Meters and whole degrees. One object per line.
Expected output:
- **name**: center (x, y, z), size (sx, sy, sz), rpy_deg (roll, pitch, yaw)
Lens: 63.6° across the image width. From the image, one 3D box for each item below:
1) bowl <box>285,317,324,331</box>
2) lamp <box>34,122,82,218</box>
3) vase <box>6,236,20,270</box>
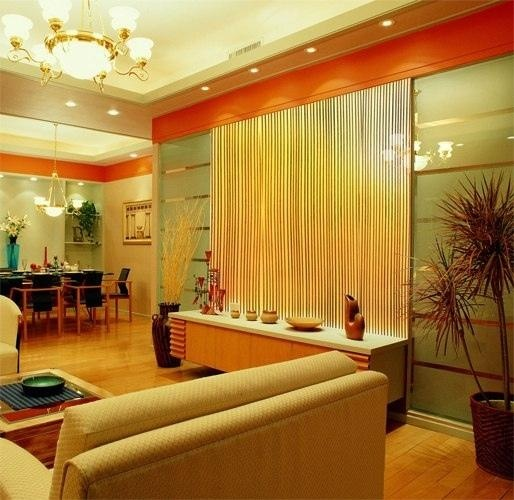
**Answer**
- **bowl**: center (0.413, 0.637, 3.631), size (0.308, 0.069, 0.349), rpy_deg (1, 0, 9)
- **lamp**: center (-3.913, -1.405, 8.274), size (0.895, 1.511, 1.674), rpy_deg (1, 0, -25)
- **vase**: center (-4.664, 0.049, 7.918), size (0.228, 0.643, 0.519), rpy_deg (0, 0, -32)
